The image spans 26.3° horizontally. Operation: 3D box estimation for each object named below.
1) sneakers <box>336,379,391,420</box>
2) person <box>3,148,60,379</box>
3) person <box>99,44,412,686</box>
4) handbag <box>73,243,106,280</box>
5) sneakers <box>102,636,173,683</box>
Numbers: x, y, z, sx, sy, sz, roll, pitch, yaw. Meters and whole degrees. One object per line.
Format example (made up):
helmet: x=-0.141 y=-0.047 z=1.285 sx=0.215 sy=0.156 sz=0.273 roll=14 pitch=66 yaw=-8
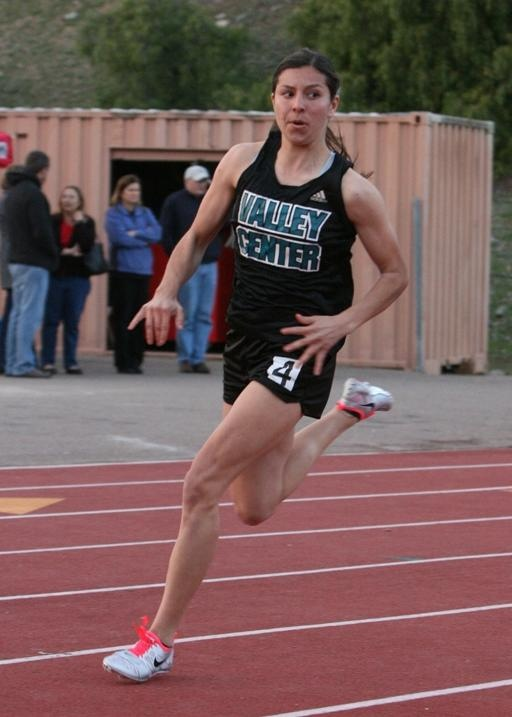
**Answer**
sneakers: x=0.424 y=0.161 z=4.586 sx=0.122 sy=0.147 sz=0.331 roll=30 pitch=4 yaw=24
person: x=-2.073 y=-0.839 z=10.070 sx=0.493 sy=2.107 sz=0.857 roll=1 pitch=4 yaw=-11
person: x=0.073 y=-0.043 z=3.458 sx=0.716 sy=1.852 sz=1.366 roll=3 pitch=4 yaw=24
handbag: x=-1.590 y=-0.930 z=10.425 sx=0.150 sy=0.347 sz=0.367 roll=-3 pitch=4 yaw=30
sneakers: x=-0.307 y=0.813 z=3.050 sx=0.230 sy=0.105 sz=0.088 roll=3 pitch=26 yaw=-48
